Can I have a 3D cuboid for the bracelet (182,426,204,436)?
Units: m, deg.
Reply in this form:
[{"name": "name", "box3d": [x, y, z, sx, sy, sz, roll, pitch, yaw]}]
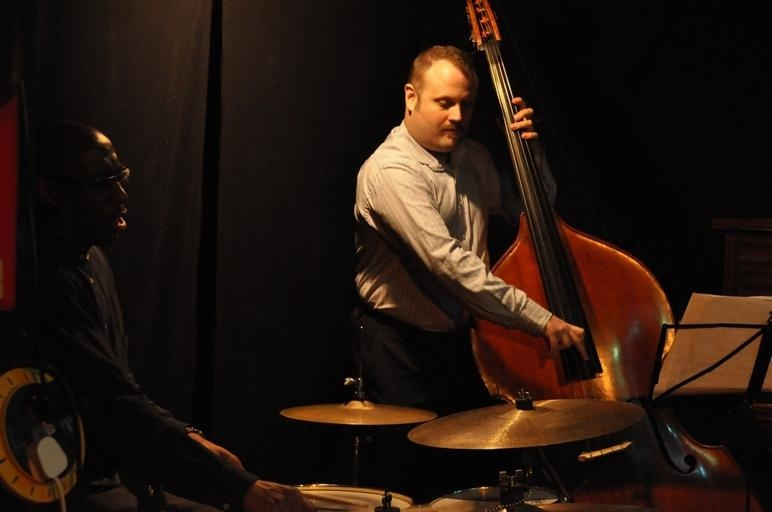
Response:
[{"name": "bracelet", "box3d": [-0.704, 0.633, 2.900, 0.051, 0.026, 0.087, 11, -12, 7]}]
